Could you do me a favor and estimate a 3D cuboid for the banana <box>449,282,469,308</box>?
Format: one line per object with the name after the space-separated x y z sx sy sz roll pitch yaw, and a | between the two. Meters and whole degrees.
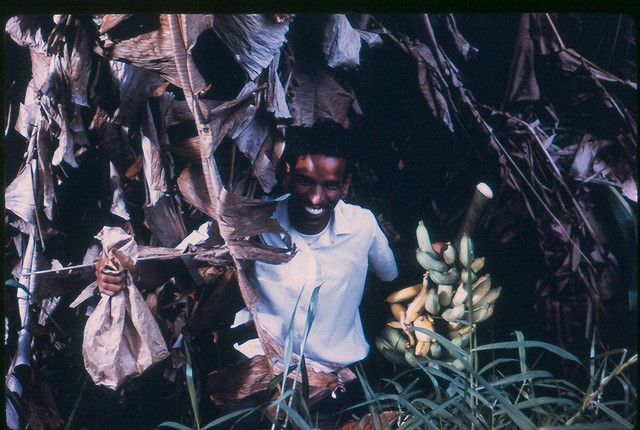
0.487 0.277 3.036 0.038 0.088 0.020 20 2 15 | banana

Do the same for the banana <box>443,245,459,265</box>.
0.454 0.136 3.004 0.044 0.062 0.035 -19 2 -21 | banana

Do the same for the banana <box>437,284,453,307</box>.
0.446 0.275 3.021 0.030 0.094 0.032 2 14 7 | banana

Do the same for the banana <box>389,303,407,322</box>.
0.269 0.327 3.012 0.036 0.078 0.025 -26 7 11 | banana

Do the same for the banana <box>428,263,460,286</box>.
0.436 0.214 3.012 0.127 0.054 0.091 4 10 -29 | banana

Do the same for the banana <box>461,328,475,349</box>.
0.515 0.425 3.015 0.041 0.074 0.016 18 19 -4 | banana

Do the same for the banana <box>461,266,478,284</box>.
0.519 0.207 3.006 0.045 0.056 0.034 1 -16 -27 | banana

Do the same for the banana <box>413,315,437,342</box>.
0.365 0.389 3.015 0.059 0.094 0.022 -5 -1 -9 | banana

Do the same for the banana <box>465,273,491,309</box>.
0.556 0.260 3.001 0.040 0.178 0.047 26 0 5 | banana

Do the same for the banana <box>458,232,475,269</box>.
0.518 0.121 3.010 0.045 0.138 0.038 8 -36 -3 | banana

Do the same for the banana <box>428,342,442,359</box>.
0.398 0.469 3.011 0.040 0.058 0.043 2 6 -5 | banana

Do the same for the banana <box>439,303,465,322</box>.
0.459 0.337 3.016 0.078 0.056 0.020 -24 1 16 | banana

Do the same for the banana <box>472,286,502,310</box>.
0.576 0.280 3.003 0.088 0.024 0.022 -48 5 -7 | banana

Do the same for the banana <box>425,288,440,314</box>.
0.393 0.296 3.017 0.048 0.084 0.024 -1 6 -14 | banana

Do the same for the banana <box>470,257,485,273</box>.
0.544 0.170 3.002 0.048 0.036 0.014 -31 2 6 | banana

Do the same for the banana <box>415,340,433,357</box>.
0.363 0.459 3.040 0.026 0.094 0.040 17 -8 0 | banana

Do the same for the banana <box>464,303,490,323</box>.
0.542 0.332 2.980 0.096 0.027 0.033 -36 5 -1 | banana

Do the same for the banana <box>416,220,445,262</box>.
0.373 0.088 3.030 0.044 0.171 0.058 -24 3 26 | banana
